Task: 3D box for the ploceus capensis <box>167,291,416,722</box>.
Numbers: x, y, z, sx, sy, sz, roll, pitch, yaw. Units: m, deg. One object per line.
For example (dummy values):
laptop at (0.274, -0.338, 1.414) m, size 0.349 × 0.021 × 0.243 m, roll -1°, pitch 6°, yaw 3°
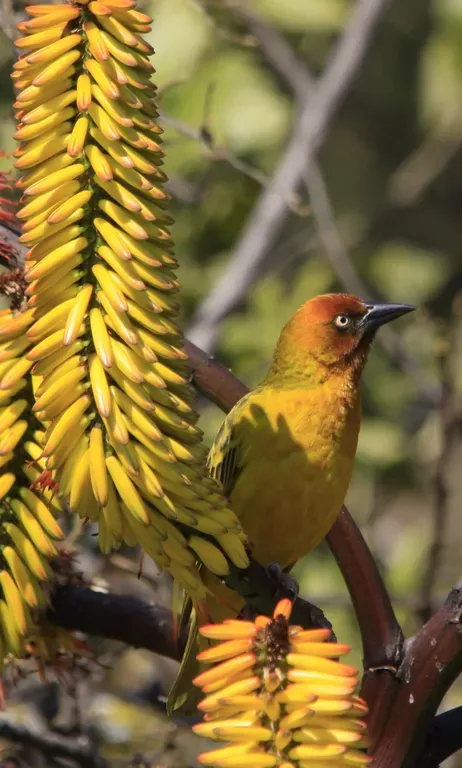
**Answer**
ploceus capensis at (0.178, 0.114, 2.366) m, size 0.380 × 0.882 × 0.547 m, roll 24°, pitch 30°, yaw -1°
